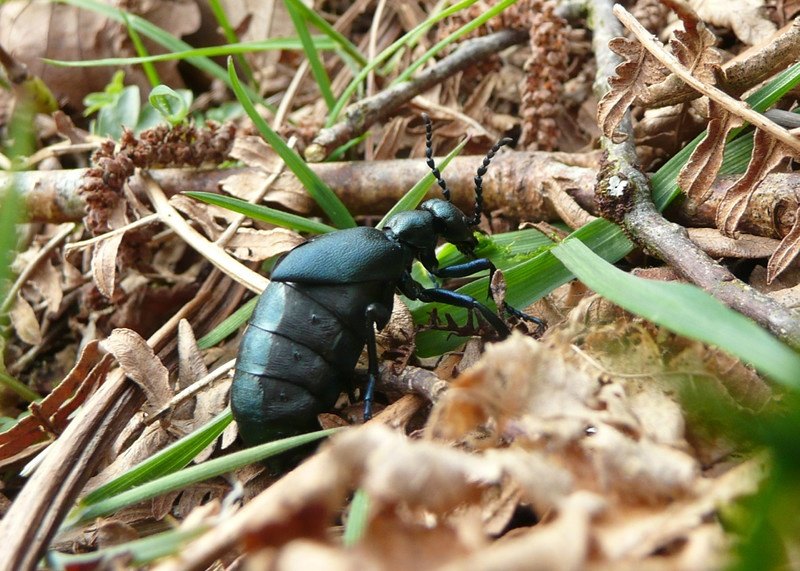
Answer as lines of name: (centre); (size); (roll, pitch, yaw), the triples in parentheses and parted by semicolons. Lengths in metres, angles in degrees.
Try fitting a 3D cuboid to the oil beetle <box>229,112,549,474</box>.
oil beetle: (-0.192, 0.041, 2.589); (0.901, 1.094, 1.536); (-1, 19, -12)
